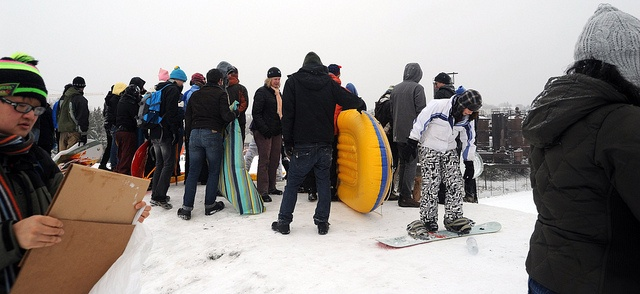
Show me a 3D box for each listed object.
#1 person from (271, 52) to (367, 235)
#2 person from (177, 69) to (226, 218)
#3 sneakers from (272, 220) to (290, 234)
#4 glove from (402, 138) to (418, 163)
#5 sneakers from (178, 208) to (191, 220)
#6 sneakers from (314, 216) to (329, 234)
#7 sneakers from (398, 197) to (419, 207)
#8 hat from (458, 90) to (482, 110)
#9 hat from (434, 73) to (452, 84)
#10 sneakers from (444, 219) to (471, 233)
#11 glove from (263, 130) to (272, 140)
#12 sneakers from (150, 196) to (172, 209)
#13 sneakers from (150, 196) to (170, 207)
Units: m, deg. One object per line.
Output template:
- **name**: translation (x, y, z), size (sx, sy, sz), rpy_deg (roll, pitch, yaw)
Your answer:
- **person**: translation (-0.226, -0.111, 6.148), size (0.897, 2.911, 1.544), rpy_deg (15, 22, 42)
- **person**: translation (-2.197, -0.060, 6.673), size (1.138, 2.661, 0.722), rpy_deg (-8, 18, -24)
- **sneakers**: translation (-0.654, 1.330, 5.982), size (0.140, 0.137, 0.369), rpy_deg (-2, 9, -36)
- **glove**: translation (1.550, 0.052, 6.318), size (0.153, 0.393, 0.436), rpy_deg (26, 10, 22)
- **sneakers**: translation (-2.482, 1.216, 6.605), size (0.172, 0.110, 0.277), rpy_deg (2, -8, 12)
- **sneakers**: translation (0.026, 1.302, 6.053), size (0.256, 0.227, 0.246), rpy_deg (-1, 15, -2)
- **sneakers**: translation (1.811, 1.152, 7.484), size (0.470, 0.161, 0.148), rpy_deg (0, -4, -1)
- **hat**: translation (2.369, -0.699, 5.673), size (0.396, 0.356, 0.360), rpy_deg (0, 15, 0)
- **hat**: translation (2.427, -1.353, 7.204), size (0.317, 0.220, 0.278), rpy_deg (3, 15, 13)
- **sneakers**: translation (2.254, 1.287, 6.011), size (0.242, 0.165, 0.366), rpy_deg (5, -2, -38)
- **glove**: translation (-1.045, -0.242, 7.132), size (0.168, 0.221, 0.257), rpy_deg (-2, 15, -6)
- **sneakers**: translation (-3.082, 1.096, 7.146), size (0.553, 0.206, 0.183), rpy_deg (8, 1, -11)
- **sneakers**: translation (-3.111, 1.060, 7.108), size (0.424, 0.150, 0.143), rpy_deg (7, 14, -27)
